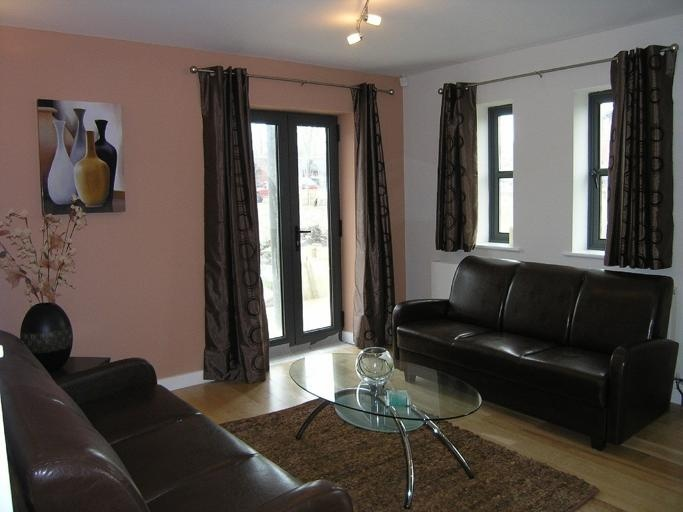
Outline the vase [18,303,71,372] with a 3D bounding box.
[{"bbox_3d":[-2.063,0.579,3.724,0.347,0.469,0.345,-6,-3,-44],"label":"vase"}]
